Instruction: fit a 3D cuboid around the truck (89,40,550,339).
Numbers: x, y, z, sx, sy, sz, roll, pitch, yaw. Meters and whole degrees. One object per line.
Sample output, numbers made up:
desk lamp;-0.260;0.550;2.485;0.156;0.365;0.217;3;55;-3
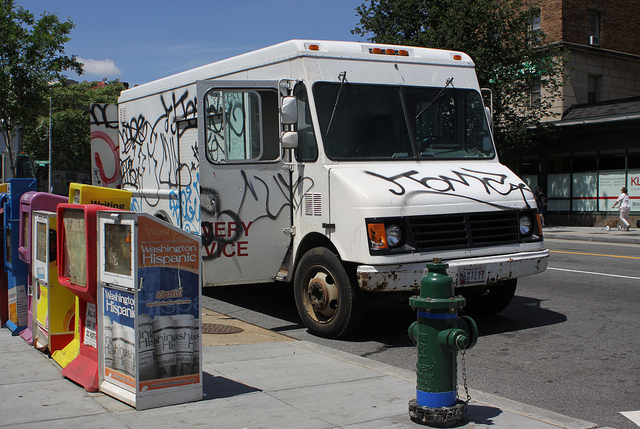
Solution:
truck;-0.045;-0.235;8.666;3.182;2.373;4.951;-4;5;-34

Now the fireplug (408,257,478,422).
fireplug;1.175;1.203;5.667;0.631;1.528;0.357;2;5;10
